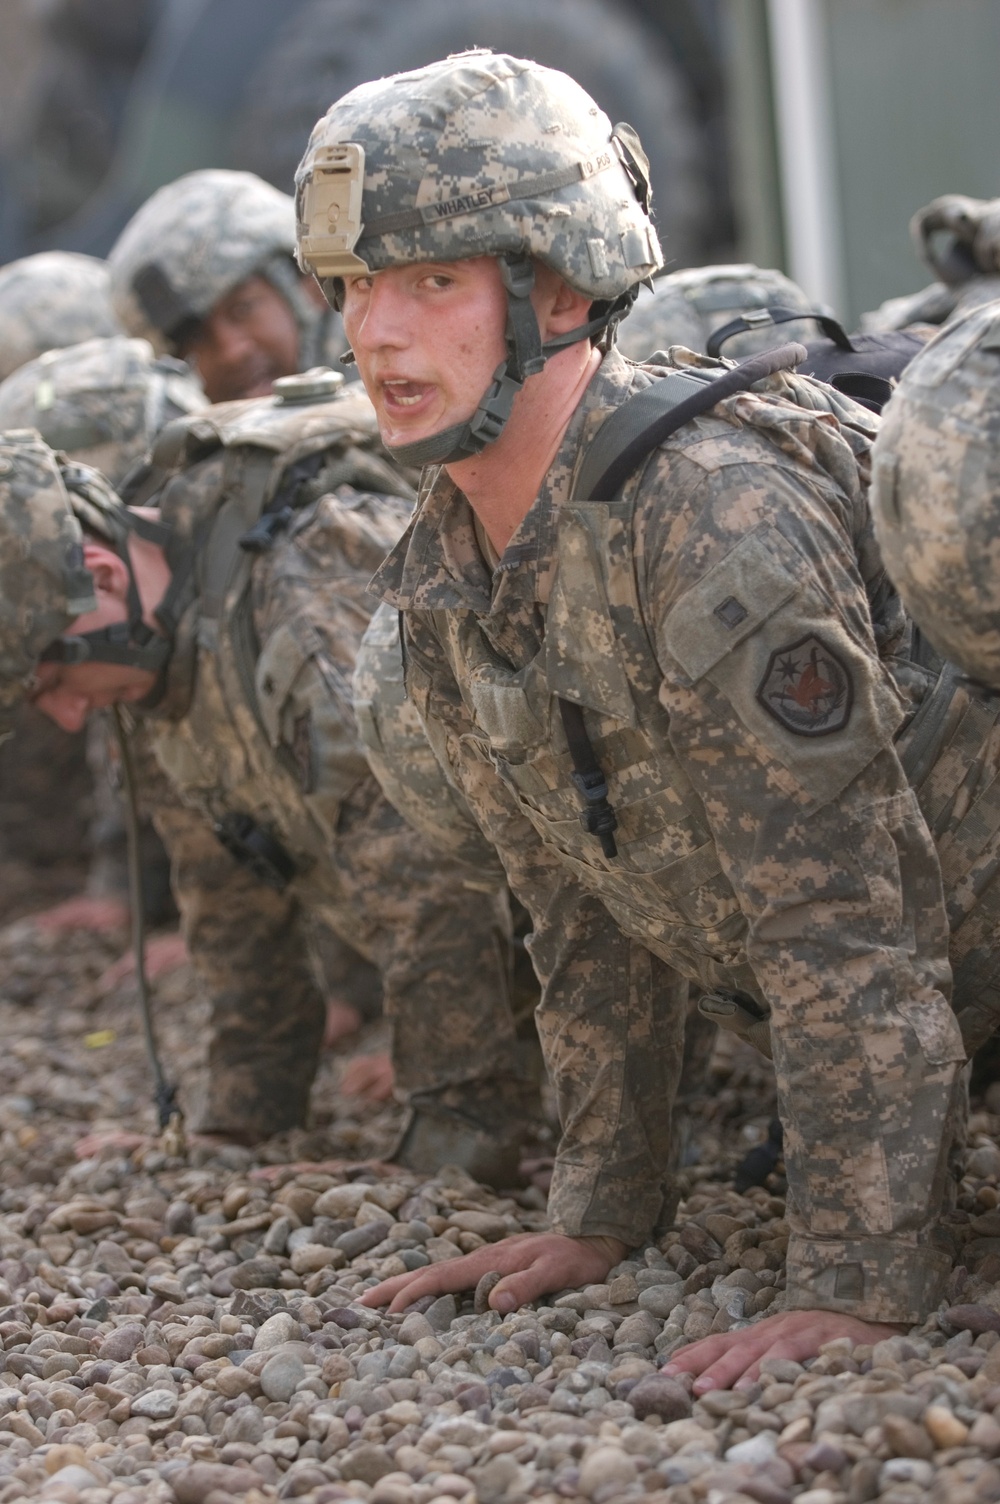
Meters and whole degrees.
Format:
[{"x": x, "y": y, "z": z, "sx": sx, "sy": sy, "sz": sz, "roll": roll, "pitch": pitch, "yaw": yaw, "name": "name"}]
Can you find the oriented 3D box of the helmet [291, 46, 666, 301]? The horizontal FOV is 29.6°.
[{"x": -0.028, "y": -0.641, "z": 2.222, "sx": 0.361, "sy": 0.194, "sz": 0.360, "roll": 4, "pitch": 16, "yaw": 38, "name": "helmet"}]
